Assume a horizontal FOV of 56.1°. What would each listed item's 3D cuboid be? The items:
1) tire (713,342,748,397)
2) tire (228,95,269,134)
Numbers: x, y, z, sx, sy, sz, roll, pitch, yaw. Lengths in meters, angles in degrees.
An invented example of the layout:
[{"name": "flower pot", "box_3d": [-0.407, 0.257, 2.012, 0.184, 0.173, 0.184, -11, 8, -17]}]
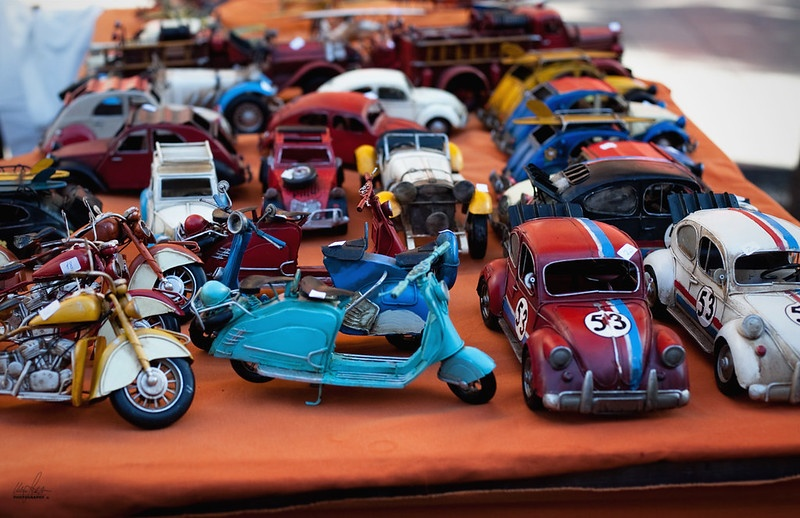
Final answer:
[{"name": "tire", "box_3d": [4.181, 1.394, 9.445, 0.231, 0.726, 0.631, 2, -6, -24]}, {"name": "tire", "box_3d": [-3.301, -3.184, 16.301, 1.077, 1.109, 0.440, -3, 23, -12]}]
